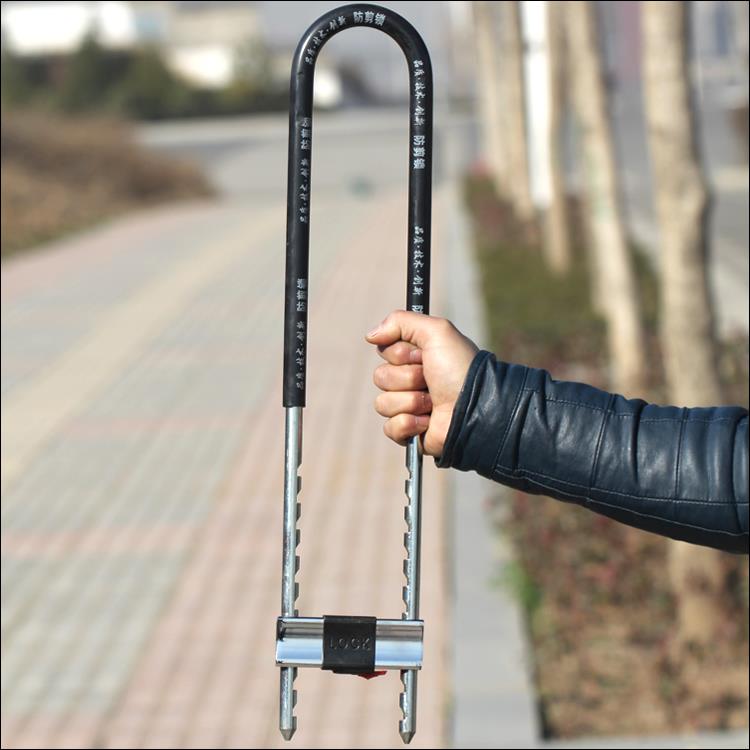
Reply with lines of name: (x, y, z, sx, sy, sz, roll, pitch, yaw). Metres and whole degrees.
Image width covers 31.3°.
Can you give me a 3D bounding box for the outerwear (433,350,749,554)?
outerwear: (0.546, 0.176, 3.273, 0.795, 0.344, 0.290, 16, -9, 5)
